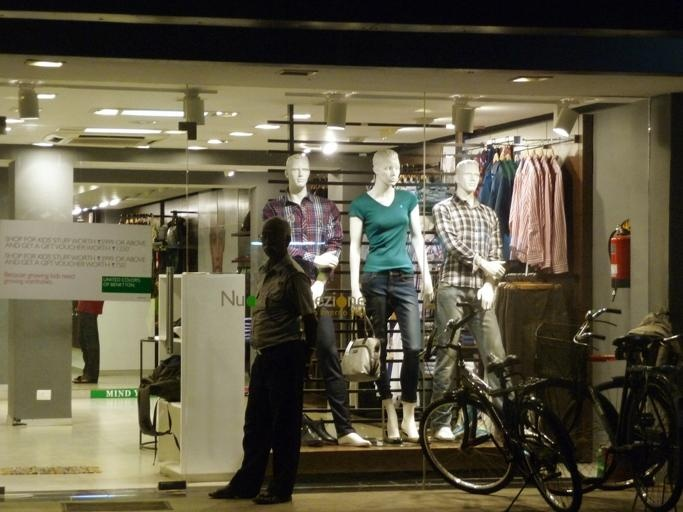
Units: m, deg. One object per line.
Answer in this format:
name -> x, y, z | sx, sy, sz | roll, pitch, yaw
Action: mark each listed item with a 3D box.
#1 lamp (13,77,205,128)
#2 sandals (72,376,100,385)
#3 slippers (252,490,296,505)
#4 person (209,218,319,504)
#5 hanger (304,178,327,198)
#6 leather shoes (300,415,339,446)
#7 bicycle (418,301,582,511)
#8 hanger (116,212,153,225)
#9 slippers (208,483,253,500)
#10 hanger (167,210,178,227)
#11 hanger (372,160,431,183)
lamp -> -1.659, -1.091, 5.437 | 1.483, 0.285, 0.191 | -2, -2, -12
sandals -> -1.941, 0.939, 5.679 | 0.151, 0.042, 0.058 | 11, -15, -34
slippers -> -0.466, 1.619, 5.076 | 0.251, 0.111, 0.092 | 6, -12, -4
person -> -0.467, 0.702, 5.091 | 0.683, 1.923, 0.227 | -3, -2, 29
hanger -> -0.177, -0.525, 5.700 | 0.112, 0.166, 0.047 | 3, 9, 1
leather shoes -> -0.197, 1.325, 5.642 | 0.388, 0.174, 0.130 | -7, -11, 43
bicycle -> 1.272, 1.092, 5.483 | 0.769, 1.258, 1.671 | -21, 8, -23
hanger -> -1.469, -0.264, 5.389 | 0.242, 0.095, 0.101 | -2, -2, 8
slippers -> -0.749, 1.617, 5.147 | 0.292, 0.124, 0.108 | 5, -7, 8
hanger -> -1.214, -0.270, 5.398 | 0.076, 0.111, 0.015 | 0, -2, -44
hanger -> 0.525, -0.633, 5.704 | 0.274, 0.214, 0.119 | 1, -9, -1
